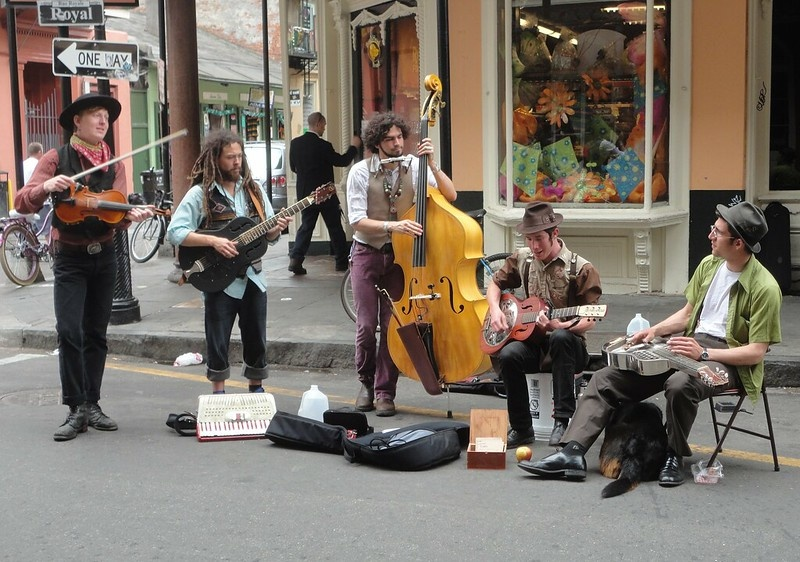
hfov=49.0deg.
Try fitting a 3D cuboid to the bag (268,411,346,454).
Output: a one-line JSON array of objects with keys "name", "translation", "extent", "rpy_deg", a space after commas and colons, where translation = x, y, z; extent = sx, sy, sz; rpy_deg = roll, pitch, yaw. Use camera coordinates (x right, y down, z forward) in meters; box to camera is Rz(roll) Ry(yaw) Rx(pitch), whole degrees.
[{"name": "bag", "translation": [-0.726, 1.203, 6.874], "extent": [0.493, 0.178, 0.301], "rpy_deg": [16, -2, 2]}]

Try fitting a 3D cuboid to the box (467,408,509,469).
[{"name": "box", "translation": [0.670, 1.242, 6.611], "extent": [0.273, 0.310, 0.459], "rpy_deg": [0, 52, 6]}]

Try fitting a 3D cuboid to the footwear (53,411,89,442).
[{"name": "footwear", "translation": [-2.644, 1.174, 7.108], "extent": [0.128, 0.166, 0.343], "rpy_deg": [2, -1, 12]}]

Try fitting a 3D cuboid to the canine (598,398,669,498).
[{"name": "canine", "translation": [1.697, 1.213, 6.404], "extent": [0.432, 0.572, 1.332], "rpy_deg": [17, 9, 13]}]

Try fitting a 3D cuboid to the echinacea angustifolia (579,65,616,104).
[{"name": "echinacea angustifolia", "translation": [2.428, -2.461, 11.147], "extent": [0.494, 0.225, 0.541], "rpy_deg": [-15, 24, 7]}]

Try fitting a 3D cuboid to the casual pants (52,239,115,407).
[{"name": "casual pants", "translation": [-2.545, 0.373, 7.196], "extent": [0.459, 1.384, 0.372], "rpy_deg": [-5, 12, -18]}]

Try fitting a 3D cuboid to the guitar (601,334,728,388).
[{"name": "guitar", "translation": [1.797, 0.491, 6.210], "extent": [0.351, 0.121, 0.709], "rpy_deg": [-8, 18, -27]}]

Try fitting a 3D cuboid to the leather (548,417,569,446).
[{"name": "leather", "translation": [1.221, 1.178, 6.800], "extent": [0.088, 0.118, 0.276], "rpy_deg": [6, 12, 10]}]

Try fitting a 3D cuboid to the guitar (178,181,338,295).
[{"name": "guitar", "translation": [-1.092, -0.479, 7.443], "extent": [1.601, 0.616, 0.317], "rpy_deg": [-35, 12, -12]}]

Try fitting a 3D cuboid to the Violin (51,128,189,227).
[{"name": "Violin", "translation": [-2.347, -0.754, 7.130], "extent": [0.438, 0.615, 0.811], "rpy_deg": [9, 15, 41]}]

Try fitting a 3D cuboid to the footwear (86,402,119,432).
[{"name": "footwear", "translation": [-2.486, 1.154, 7.332], "extent": [0.335, 0.145, 0.128], "rpy_deg": [5, 5, 41]}]

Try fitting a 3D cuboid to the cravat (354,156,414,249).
[{"name": "cravat", "translation": [-0.115, -0.649, 7.635], "extent": [0.492, 0.789, 0.203], "rpy_deg": [5, 1, -1]}]

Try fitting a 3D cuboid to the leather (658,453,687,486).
[{"name": "leather", "translation": [1.884, 1.336, 6.114], "extent": [0.106, 0.129, 0.301], "rpy_deg": [-1, 1, 19]}]

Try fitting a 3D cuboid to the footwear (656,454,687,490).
[{"name": "footwear", "translation": [1.879, 1.338, 6.102], "extent": [0.108, 0.132, 0.309], "rpy_deg": [-2, 0, 20]}]

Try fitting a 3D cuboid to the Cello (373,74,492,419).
[{"name": "Cello", "translation": [0.318, -0.033, 7.322], "extent": [0.839, 1.946, 0.604], "rpy_deg": [-1, 11, 3]}]

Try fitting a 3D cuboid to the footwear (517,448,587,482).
[{"name": "footwear", "translation": [1.048, 1.308, 6.242], "extent": [0.543, 0.235, 0.202], "rpy_deg": [2, -11, 7]}]

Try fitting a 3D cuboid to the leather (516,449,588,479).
[{"name": "leather", "translation": [1.096, 1.318, 6.364], "extent": [0.500, 0.233, 0.201], "rpy_deg": [3, -12, 6]}]

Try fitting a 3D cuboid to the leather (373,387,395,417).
[{"name": "leather", "translation": [-0.136, 1.073, 7.755], "extent": [0.226, 0.252, 0.577], "rpy_deg": [0, -2, -3]}]

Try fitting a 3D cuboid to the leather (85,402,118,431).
[{"name": "leather", "translation": [-2.492, 1.156, 7.343], "extent": [0.335, 0.144, 0.128], "rpy_deg": [5, 6, 41]}]
